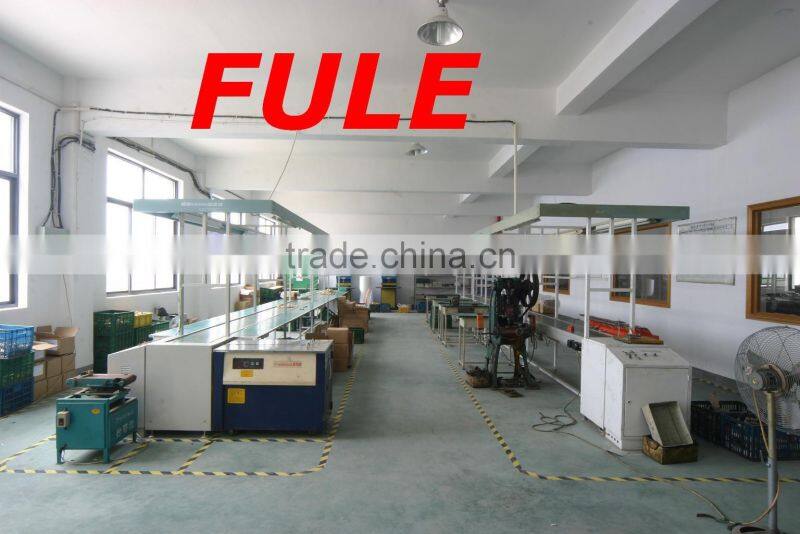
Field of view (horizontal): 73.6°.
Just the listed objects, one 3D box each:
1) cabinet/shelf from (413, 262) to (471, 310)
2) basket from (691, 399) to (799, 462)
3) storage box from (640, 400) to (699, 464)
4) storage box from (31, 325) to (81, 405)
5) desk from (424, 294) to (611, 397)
[{"bbox_3d":[1.225,0.551,15.864,1.624,1.766,0.519,0,1,0],"label":"cabinet/shelf"},{"bbox_3d":[3.817,1.866,6.240,0.575,0.282,0.892,0,1,7],"label":"basket"},{"bbox_3d":[2.974,1.832,5.958,0.506,0.486,0.286,-1,-1,-8],"label":"storage box"},{"bbox_3d":[-4.771,1.277,7.311,0.432,0.945,0.727,-2,-1,-2],"label":"storage box"},{"bbox_3d":[1.865,1.243,9.416,2.623,1.251,5.646,-2,-1,4],"label":"desk"}]
